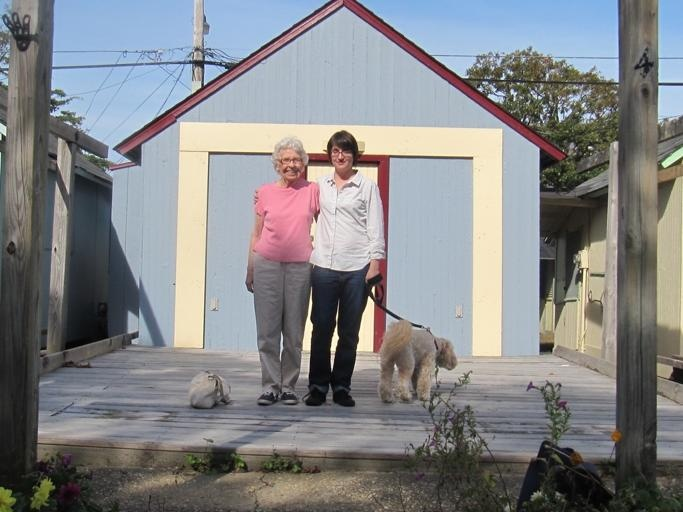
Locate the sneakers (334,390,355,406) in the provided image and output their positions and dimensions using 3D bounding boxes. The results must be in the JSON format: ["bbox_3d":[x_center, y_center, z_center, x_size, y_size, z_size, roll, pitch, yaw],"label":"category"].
[{"bbox_3d":[0.022,1.137,7.266,0.084,0.143,0.173,3,-12,-39],"label":"sneakers"}]

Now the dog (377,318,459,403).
[{"bbox_3d":[0.630,0.866,7.527,0.288,0.701,0.966,7,-1,36],"label":"dog"}]
